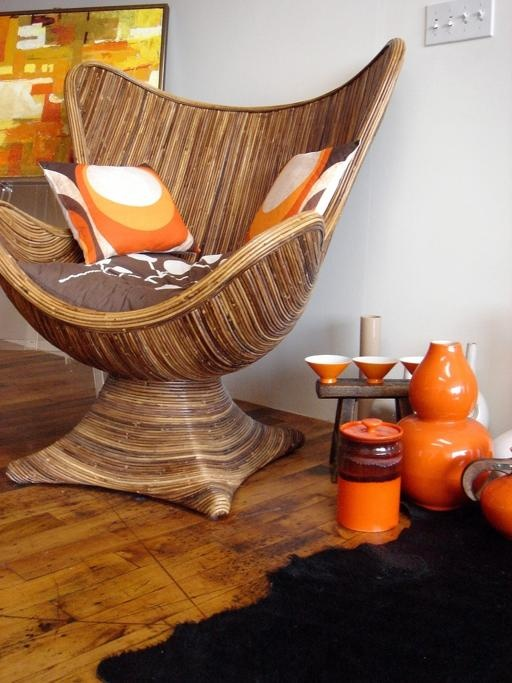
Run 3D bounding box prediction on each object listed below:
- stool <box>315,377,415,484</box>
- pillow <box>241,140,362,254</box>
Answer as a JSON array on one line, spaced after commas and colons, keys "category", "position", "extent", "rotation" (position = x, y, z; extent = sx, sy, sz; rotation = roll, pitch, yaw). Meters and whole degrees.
[{"category": "stool", "position": [0.261, 0.172, 1.250], "extent": [0.230, 0.190, 0.122], "rotation": [3, 17, 15]}, {"category": "pillow", "position": [0.152, -0.364, 1.318], "extent": [0.055, 0.302, 0.281], "rotation": [34, -22, -29]}]
